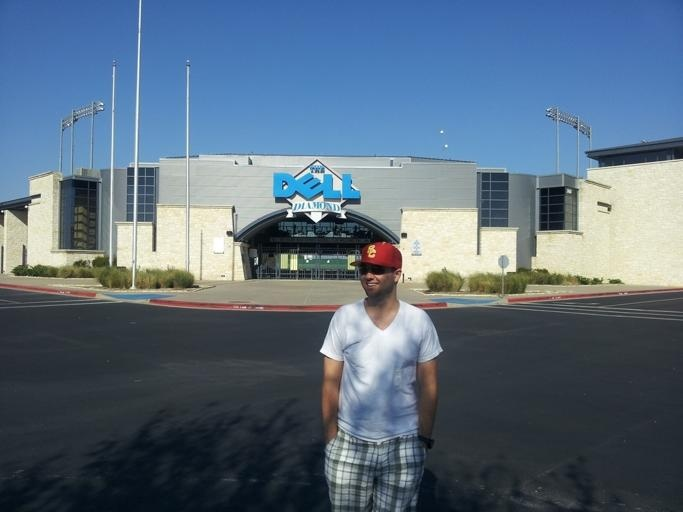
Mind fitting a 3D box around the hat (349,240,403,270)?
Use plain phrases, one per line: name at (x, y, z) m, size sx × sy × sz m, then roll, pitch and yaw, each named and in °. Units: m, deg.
hat at (0.408, -0.002, 5.505) m, size 0.340 × 0.206 × 0.244 m, roll 10°, pitch -9°, yaw -42°
